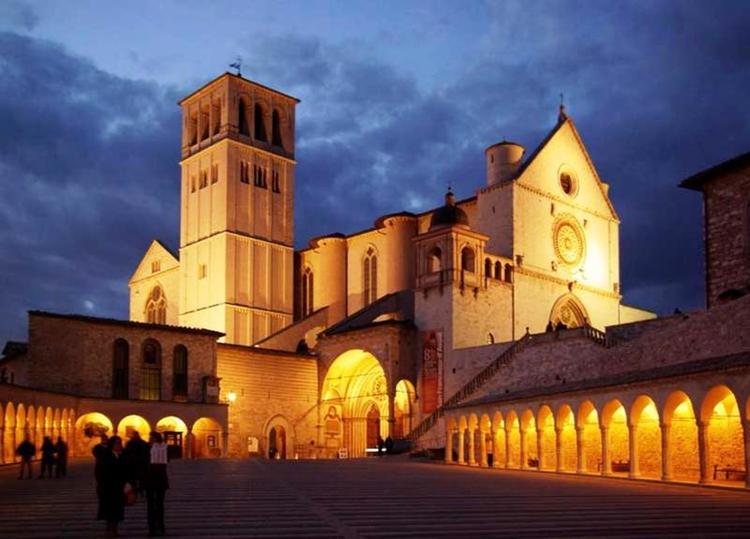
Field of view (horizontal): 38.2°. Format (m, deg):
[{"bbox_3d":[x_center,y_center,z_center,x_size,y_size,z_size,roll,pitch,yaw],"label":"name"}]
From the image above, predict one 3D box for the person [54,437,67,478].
[{"bbox_3d":[-10.652,6.347,36.369,0.450,1.489,1.907,6,-19,-15],"label":"person"}]
